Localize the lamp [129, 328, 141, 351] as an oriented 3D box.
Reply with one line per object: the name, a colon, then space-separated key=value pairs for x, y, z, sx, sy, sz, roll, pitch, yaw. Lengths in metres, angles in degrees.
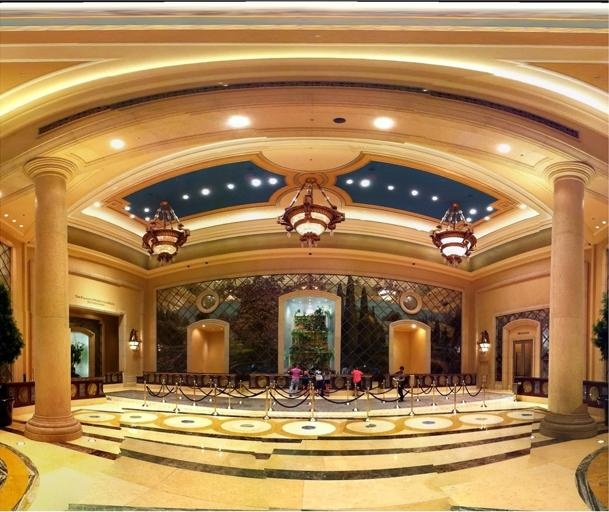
lamp: x=-6.664 y=3.305 z=17.964 sx=0.279 sy=0.867 sz=0.596 roll=0 pitch=-10 yaw=0

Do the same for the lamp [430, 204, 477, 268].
lamp: x=5.040 y=-1.188 z=15.223 sx=1.329 sy=1.197 sz=2.164 roll=22 pitch=18 yaw=8

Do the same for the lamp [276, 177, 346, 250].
lamp: x=0.191 y=-1.196 z=12.204 sx=1.892 sy=1.689 sz=1.590 roll=1 pitch=-20 yaw=1

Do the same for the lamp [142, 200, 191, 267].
lamp: x=-4.175 y=-0.832 z=13.636 sx=1.396 sy=1.686 sz=1.321 roll=6 pitch=-17 yaw=-32

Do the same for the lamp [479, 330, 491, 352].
lamp: x=7.002 y=3.328 z=17.708 sx=0.247 sy=0.853 sz=0.607 roll=1 pitch=-10 yaw=-7
